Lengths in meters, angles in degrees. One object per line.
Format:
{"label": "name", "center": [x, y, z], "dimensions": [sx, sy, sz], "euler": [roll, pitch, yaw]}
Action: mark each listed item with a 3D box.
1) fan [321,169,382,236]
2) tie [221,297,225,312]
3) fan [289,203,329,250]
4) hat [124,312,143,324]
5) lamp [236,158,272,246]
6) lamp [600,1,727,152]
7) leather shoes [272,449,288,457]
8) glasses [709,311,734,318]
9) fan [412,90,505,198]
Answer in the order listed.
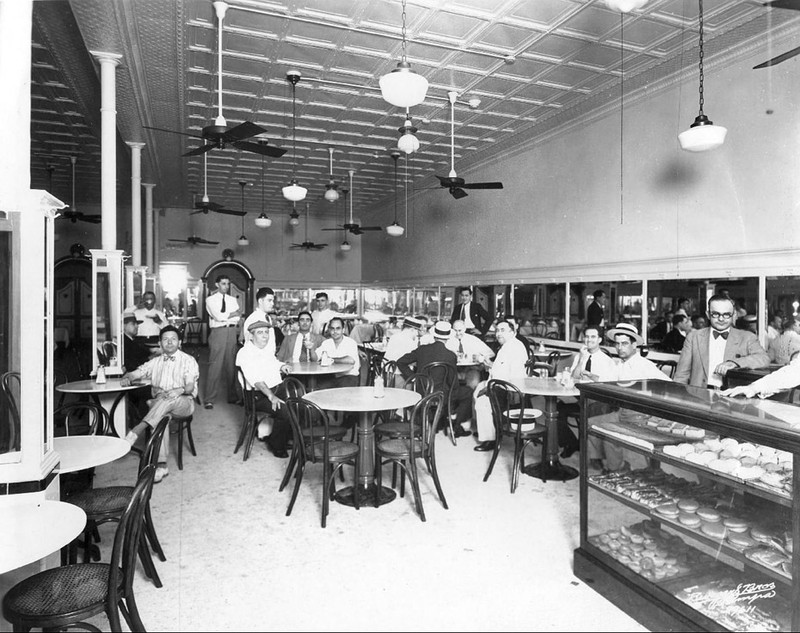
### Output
{"label": "fan", "center": [-1.235, -2.514, 17.261], "dimensions": [1.519, 1.741, 1.631], "euler": [0, -3, -4]}
{"label": "tie", "center": [-2.705, -0.200, 10.309], "dimensions": [0.063, 0.205, 0.086], "euler": [-3, 11, -15]}
{"label": "fan", "center": [-2.676, -2.687, 19.291], "dimensions": [1.262, 1.675, 1.323], "euler": [-3, 4, -21]}
{"label": "hat", "center": [-4.403, 0.007, 11.116], "dimensions": [0.275, 0.117, 0.253], "euler": [-4, 0, -16]}
{"label": "lamp", "center": [-3.622, -2.873, 16.478], "dimensions": [0.537, 2.623, 1.003], "euler": [4, -5, -39]}
{"label": "lamp", "center": [3.155, -2.923, 7.948], "dimensions": [1.460, 2.125, 1.635], "euler": [1, 3, 15]}
{"label": "leather shoes", "center": [-1.386, 1.591, 7.803], "dimensions": [0.188, 0.148, 0.067], "euler": [1, -5, -17]}
{"label": "glasses", "center": [3.204, -0.029, 6.703], "dimensions": [0.186, 0.072, 0.119], "euler": [4, 13, 17]}
{"label": "fan", "center": [0.840, -2.405, 10.295], "dimensions": [1.435, 1.815, 1.342], "euler": [-5, -22, 20]}
